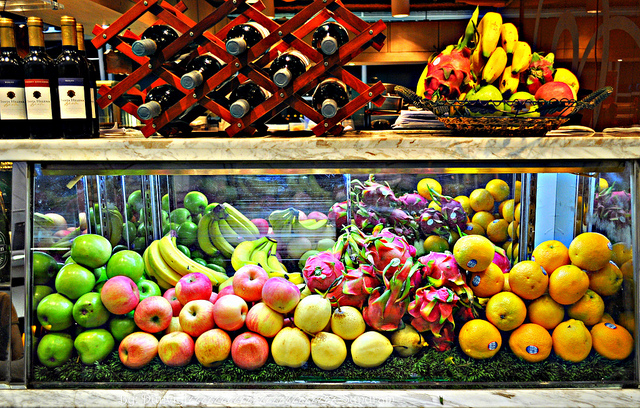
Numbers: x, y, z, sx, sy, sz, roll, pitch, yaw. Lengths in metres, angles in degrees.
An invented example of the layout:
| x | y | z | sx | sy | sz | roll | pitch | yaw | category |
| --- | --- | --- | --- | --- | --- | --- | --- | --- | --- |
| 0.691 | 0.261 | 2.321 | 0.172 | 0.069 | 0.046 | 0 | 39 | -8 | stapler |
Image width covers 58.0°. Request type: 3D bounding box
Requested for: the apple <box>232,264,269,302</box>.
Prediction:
| x | y | z | sx | sy | sz | roll | pitch | yaw | category |
| --- | --- | --- | --- | --- | --- | --- | --- | --- | --- |
| -0.273 | 0.306 | 2.266 | 0.128 | 0.120 | 0.130 | 0 | 24 | -2 | apple |

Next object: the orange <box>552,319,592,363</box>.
| x | y | z | sx | sy | sz | roll | pitch | yaw | category |
| --- | --- | --- | --- | --- | --- | --- | --- | --- | --- |
| 0.950 | 0.526 | 2.213 | 0.130 | 0.151 | 0.126 | -15 | -17 | 3 | orange |

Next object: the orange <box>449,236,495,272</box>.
| x | y | z | sx | sy | sz | roll | pitch | yaw | category |
| --- | --- | --- | --- | --- | --- | --- | --- | --- | --- |
| 0.565 | 0.186 | 2.257 | 0.170 | 0.132 | 0.132 | 0 | -37 | -20 | orange |

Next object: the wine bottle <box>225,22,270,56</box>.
| x | y | z | sx | sy | sz | roll | pitch | yaw | category |
| --- | --- | --- | --- | --- | --- | --- | --- | --- | --- |
| -0.274 | -0.626 | 2.168 | 0.161 | 0.138 | 0.133 | 0 | 4 | -9 | wine bottle |

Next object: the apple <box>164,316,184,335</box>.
| x | y | z | sx | sy | sz | roll | pitch | yaw | category |
| --- | --- | --- | --- | --- | --- | --- | --- | --- | --- |
| -0.565 | 0.471 | 2.254 | 0.062 | 0.072 | 0.062 | 4 | 3 | 5 | apple |

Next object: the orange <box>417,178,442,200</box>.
| x | y | z | sx | sy | sz | roll | pitch | yaw | category |
| --- | --- | --- | --- | --- | --- | --- | --- | --- | --- |
| 0.419 | -0.060 | 2.221 | 0.098 | 0.085 | 0.050 | 0 | 3 | -4 | orange |

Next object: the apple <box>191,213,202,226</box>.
| x | y | z | sx | sy | sz | roll | pitch | yaw | category |
| --- | --- | --- | --- | --- | --- | --- | --- | --- | --- |
| -0.502 | 0.064 | 2.330 | 0.030 | 0.038 | 0.024 | 31 | 20 | 13 | apple |

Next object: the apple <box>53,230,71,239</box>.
| x | y | z | sx | sy | sz | roll | pitch | yaw | category |
| --- | --- | --- | --- | --- | --- | --- | --- | --- | --- |
| -1.007 | 0.114 | 2.246 | 0.034 | 0.026 | 0.025 | -7 | 0 | -14 | apple |

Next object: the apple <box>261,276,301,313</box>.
| x | y | z | sx | sy | sz | roll | pitch | yaw | category |
| --- | --- | --- | --- | --- | --- | --- | --- | --- | --- |
| -0.151 | 0.346 | 2.262 | 0.128 | 0.103 | 0.137 | 32 | 3 | 13 | apple |

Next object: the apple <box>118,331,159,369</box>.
| x | y | z | sx | sy | sz | roll | pitch | yaw | category |
| --- | --- | --- | --- | --- | --- | --- | --- | --- | --- |
| -0.688 | 0.575 | 2.251 | 0.121 | 0.142 | 0.119 | 4 | -3 | 5 | apple |

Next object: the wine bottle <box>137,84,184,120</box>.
| x | y | z | sx | sy | sz | roll | pitch | yaw | category |
| --- | --- | --- | --- | --- | --- | --- | --- | --- | --- |
| -0.613 | -0.394 | 2.199 | 0.169 | 0.142 | 0.107 | -1 | 4 | -25 | wine bottle |

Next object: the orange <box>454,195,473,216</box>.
| x | y | z | sx | sy | sz | roll | pitch | yaw | category |
| --- | --- | --- | --- | --- | --- | --- | --- | --- | --- |
| 0.552 | 0.008 | 2.298 | 0.067 | 0.077 | 0.065 | -18 | 0 | -44 | orange |

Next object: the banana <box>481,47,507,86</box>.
| x | y | z | sx | sy | sz | roll | pitch | yaw | category |
| --- | --- | --- | --- | --- | --- | --- | --- | --- | --- |
| 0.663 | -0.531 | 2.215 | 0.077 | 0.148 | 0.054 | 19 | 14 | 10 | banana |

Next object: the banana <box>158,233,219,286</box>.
| x | y | z | sx | sy | sz | roll | pitch | yaw | category |
| --- | --- | --- | --- | --- | --- | --- | --- | --- | --- |
| -0.519 | 0.223 | 2.332 | 0.385 | 0.156 | 0.088 | 18 | 9 | 29 | banana |

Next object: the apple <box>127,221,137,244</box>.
| x | y | z | sx | sy | sz | roll | pitch | yaw | category |
| --- | --- | --- | --- | --- | --- | --- | --- | --- | --- |
| -0.762 | 0.124 | 2.341 | 0.056 | 0.074 | 0.057 | 1 | -2 | -18 | apple |

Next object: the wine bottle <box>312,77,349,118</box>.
| x | y | z | sx | sy | sz | roll | pitch | yaw | category |
| --- | --- | --- | --- | --- | --- | --- | --- | --- | --- |
| 0.038 | -0.406 | 2.175 | 0.139 | 0.156 | 0.119 | 1 | 3 | -1 | wine bottle |

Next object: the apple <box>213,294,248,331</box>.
| x | y | z | sx | sy | sz | roll | pitch | yaw | category |
| --- | --- | --- | --- | --- | --- | --- | --- | --- | --- |
| -0.345 | 0.423 | 2.276 | 0.124 | 0.124 | 0.129 | 8 | 43 | 12 | apple |

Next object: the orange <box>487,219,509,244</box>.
| x | y | z | sx | sy | sz | roll | pitch | yaw | category |
| --- | --- | --- | --- | --- | --- | --- | --- | --- | --- |
| 0.703 | 0.105 | 2.339 | 0.090 | 0.106 | 0.090 | -12 | -3 | 5 | orange |

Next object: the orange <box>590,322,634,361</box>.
| x | y | z | sx | sy | sz | roll | pitch | yaw | category |
| --- | --- | --- | --- | --- | --- | --- | --- | --- | --- |
| 1.090 | 0.517 | 2.226 | 0.148 | 0.116 | 0.115 | 28 | -14 | 23 | orange |

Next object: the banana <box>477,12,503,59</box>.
| x | y | z | sx | sy | sz | roll | pitch | yaw | category |
| --- | --- | --- | --- | --- | --- | --- | --- | --- | --- |
| 0.644 | -0.663 | 2.253 | 0.086 | 0.174 | 0.058 | 22 | 3 | -9 | banana |

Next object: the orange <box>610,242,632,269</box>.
| x | y | z | sx | sy | sz | roll | pitch | yaw | category |
| --- | --- | --- | --- | --- | --- | --- | --- | --- | --- |
| 1.123 | 0.189 | 2.129 | 0.084 | 0.082 | 0.080 | 4 | 2 | -6 | orange |

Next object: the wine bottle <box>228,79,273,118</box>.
| x | y | z | sx | sy | sz | roll | pitch | yaw | category |
| --- | --- | --- | --- | --- | --- | --- | --- | --- | --- |
| -0.270 | -0.407 | 2.227 | 0.180 | 0.151 | 0.178 | -1 | 4 | -17 | wine bottle |

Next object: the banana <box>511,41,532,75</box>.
| x | y | z | sx | sy | sz | roll | pitch | yaw | category |
| --- | --- | --- | --- | --- | --- | --- | --- | --- | --- |
| 0.765 | -0.559 | 2.196 | 0.065 | 0.116 | 0.038 | 5 | 0 | -1 | banana |

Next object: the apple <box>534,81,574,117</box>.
| x | y | z | sx | sy | sz | roll | pitch | yaw | category |
| --- | --- | --- | --- | --- | --- | --- | --- | --- | --- |
| 0.849 | -0.382 | 2.107 | 0.082 | 0.098 | 0.082 | 27 | -30 | 15 | apple |

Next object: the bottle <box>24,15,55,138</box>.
| x | y | z | sx | sy | sz | roll | pitch | yaw | category |
| --- | --- | --- | --- | --- | --- | --- | --- | --- | --- |
| -1.057 | -0.477 | 2.171 | 0.100 | 0.446 | 0.077 | -1 | 3 | -27 | bottle |

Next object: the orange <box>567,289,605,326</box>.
| x | y | z | sx | sy | sz | roll | pitch | yaw | category |
| --- | --- | --- | --- | --- | --- | --- | --- | --- | --- |
| 1.041 | 0.414 | 2.225 | 0.112 | 0.127 | 0.108 | -3 | -11 | -32 | orange |

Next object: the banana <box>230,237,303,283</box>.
| x | y | z | sx | sy | sz | roll | pitch | yaw | category |
| --- | --- | --- | --- | --- | --- | --- | --- | --- | --- |
| -0.253 | 0.195 | 2.333 | 0.191 | 0.119 | 0.260 | 15 | 15 | -4 | banana |

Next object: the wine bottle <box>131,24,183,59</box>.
| x | y | z | sx | sy | sz | roll | pitch | yaw | category |
| --- | --- | --- | --- | --- | --- | --- | --- | --- | --- |
| -0.603 | -0.610 | 2.158 | 0.099 | 0.101 | 0.362 | 4 | 26 | 5 | wine bottle |

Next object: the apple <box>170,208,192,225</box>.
| x | y | z | sx | sy | sz | roll | pitch | yaw | category |
| --- | --- | --- | --- | --- | --- | --- | --- | --- | --- |
| -0.562 | 0.045 | 2.339 | 0.081 | 0.063 | 0.064 | 0 | 10 | 10 | apple |

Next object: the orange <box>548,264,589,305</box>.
| x | y | z | sx | sy | sz | roll | pitch | yaw | category |
| --- | --- | --- | --- | --- | --- | --- | --- | --- | --- |
| 0.956 | 0.325 | 2.233 | 0.139 | 0.165 | 0.136 | -1 | -13 | 10 | orange |

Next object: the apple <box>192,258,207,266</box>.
| x | y | z | sx | sy | sz | roll | pitch | yaw | category |
| --- | --- | --- | --- | --- | --- | --- | --- | --- | --- |
| -0.490 | 0.230 | 2.345 | 0.041 | 0.025 | 0.026 | 30 | -13 | -22 | apple |

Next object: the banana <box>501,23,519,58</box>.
| x | y | z | sx | sy | sz | roll | pitch | yaw | category |
| --- | --- | --- | --- | --- | --- | --- | --- | --- | --- |
| 0.715 | -0.628 | 2.202 | 0.061 | 0.117 | 0.039 | -18 | -19 | 37 | banana |

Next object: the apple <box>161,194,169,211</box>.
| x | y | z | sx | sy | sz | roll | pitch | yaw | category |
| --- | --- | --- | --- | --- | --- | --- | --- | --- | --- |
| -0.622 | -0.009 | 2.311 | 0.029 | 0.065 | 0.037 | 0 | 3 | -19 | apple |

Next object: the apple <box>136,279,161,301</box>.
| x | y | z | sx | sy | sz | roll | pitch | yaw | category |
| --- | --- | --- | --- | --- | --- | --- | --- | --- | --- |
| -0.685 | 0.342 | 2.302 | 0.076 | 0.076 | 0.089 | -3 | -4 | -12 | apple |

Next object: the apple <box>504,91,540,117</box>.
| x | y | z | sx | sy | sz | roll | pitch | yaw | category |
| --- | --- | --- | --- | --- | --- | --- | --- | --- | --- |
| 0.737 | -0.367 | 2.112 | 0.078 | 0.077 | 0.092 | 15 | -10 | -5 | apple |

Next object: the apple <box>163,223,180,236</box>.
| x | y | z | sx | sy | sz | roll | pitch | yaw | category |
| --- | --- | --- | --- | --- | --- | --- | --- | --- | --- |
| -0.608 | 0.091 | 2.378 | 0.063 | 0.051 | 0.053 | 8 | 37 | 9 | apple |

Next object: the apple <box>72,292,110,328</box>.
| x | y | z | sx | sy | sz | roll | pitch | yaw | category |
| --- | --- | --- | --- | --- | --- | --- | --- | --- | --- |
| -0.882 | 0.401 | 2.273 | 0.124 | 0.118 | 0.144 | 6 | 8 | 15 | apple |
